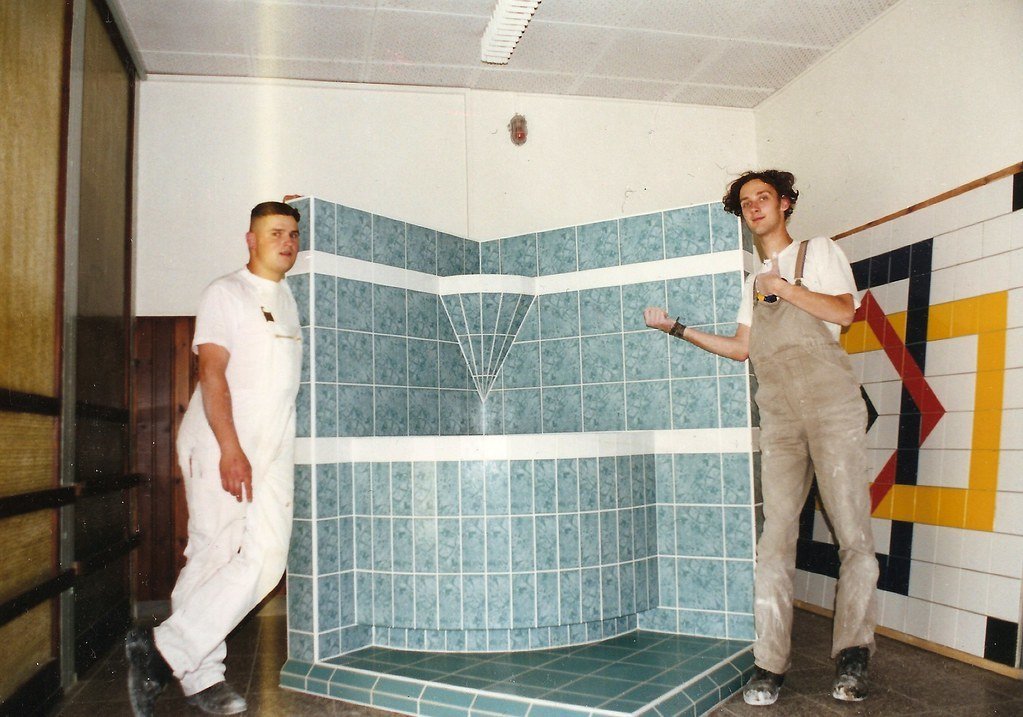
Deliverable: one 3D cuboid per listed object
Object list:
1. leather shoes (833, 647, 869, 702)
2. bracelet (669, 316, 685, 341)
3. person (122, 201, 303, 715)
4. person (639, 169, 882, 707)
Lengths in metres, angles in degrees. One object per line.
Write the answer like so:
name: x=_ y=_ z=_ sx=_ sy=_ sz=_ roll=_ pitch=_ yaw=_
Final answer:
leather shoes: x=1.582 y=1.500 z=3.840 sx=0.176 sy=0.273 sz=0.159 roll=10 pitch=-13 yaw=-20
bracelet: x=0.892 y=-0.149 z=4.439 sx=0.096 sy=0.098 sz=0.039 roll=33 pitch=10 yaw=18
person: x=-1.443 y=0.457 z=4.002 sx=0.863 sy=2.382 sz=0.411 roll=-3 pitch=1 yaw=-19
person: x=1.362 y=0.327 z=4.104 sx=0.823 sy=2.613 sz=0.781 roll=-2 pitch=2 yaw=35
